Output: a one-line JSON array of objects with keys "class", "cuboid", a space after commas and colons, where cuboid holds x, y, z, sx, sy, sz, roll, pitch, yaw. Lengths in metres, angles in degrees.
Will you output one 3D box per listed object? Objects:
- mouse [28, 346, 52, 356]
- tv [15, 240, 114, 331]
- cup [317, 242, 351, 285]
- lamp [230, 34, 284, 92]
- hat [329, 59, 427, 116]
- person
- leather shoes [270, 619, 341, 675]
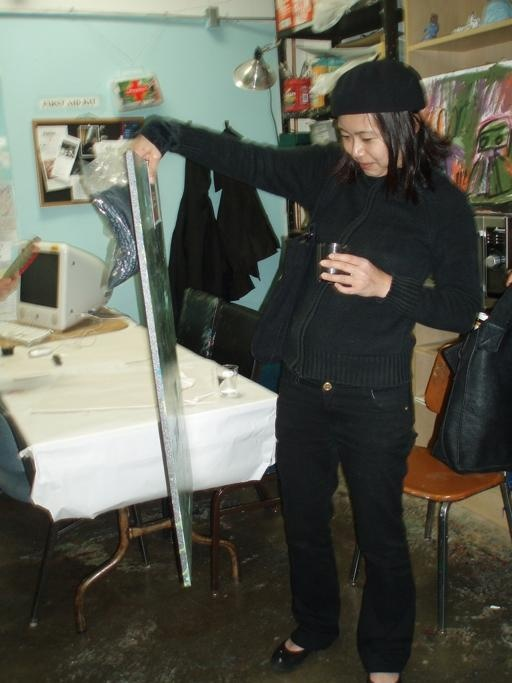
[{"class": "mouse", "cuboid": [-0.858, 0.042, 2.168, 0.045, 0.011, 0.050, 8, 17, 41]}, {"class": "tv", "cuboid": [-0.886, -0.243, 2.697, 0.432, 0.415, 0.420, 9, -1, -44]}, {"class": "cup", "cuboid": [0.148, -0.167, 1.143, 0.073, 0.076, 0.074, 1, 7, 0]}, {"class": "lamp", "cuboid": [0.008, -1.495, 2.958, 0.241, 0.232, 0.246, 25, 31, 36]}, {"class": "hat", "cuboid": [0.236, -0.488, 1.069, 0.163, 0.080, 0.113, -11, 36, 5]}, {"class": "person", "cuboid": [0.171, 0.176, 1.294, 0.647, 1.529, 0.375, 2, 11, 20]}, {"class": "leather shoes", "cuboid": [0.117, 0.851, 1.524, 0.252, 0.082, 0.099, -28, -29, 18]}]
